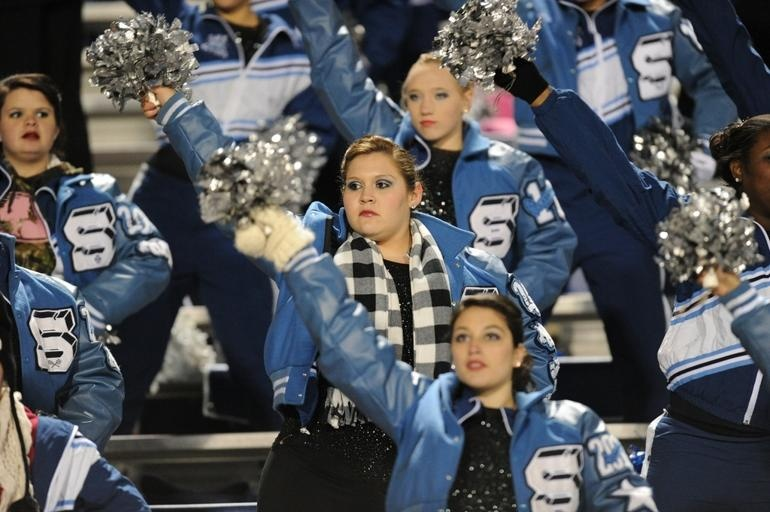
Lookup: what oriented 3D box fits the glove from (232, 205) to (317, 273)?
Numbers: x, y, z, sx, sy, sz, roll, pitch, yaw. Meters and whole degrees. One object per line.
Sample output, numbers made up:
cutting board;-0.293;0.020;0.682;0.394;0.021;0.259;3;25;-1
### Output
glove;-0.435;-0.074;4.782;0.299;0.241;0.157;-4;9;-11
